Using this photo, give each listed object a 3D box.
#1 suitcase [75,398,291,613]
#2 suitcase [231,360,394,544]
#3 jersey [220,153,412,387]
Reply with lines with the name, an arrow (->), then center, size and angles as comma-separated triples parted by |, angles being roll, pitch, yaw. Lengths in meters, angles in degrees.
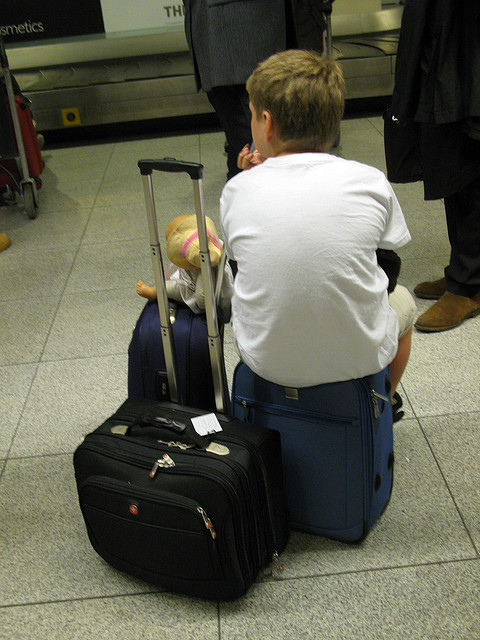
suitcase -> -0.126, 0.336, 1.143 | 0.370, 0.363, 0.276 | 7, 23, 24
suitcase -> 0.215, 0.235, 1.290 | 0.331, 0.401, 0.351 | 5, 32, 17
jersey -> 0.127, -0.070, 0.989 | 0.325, 0.420, 0.215 | 2, 33, 14
